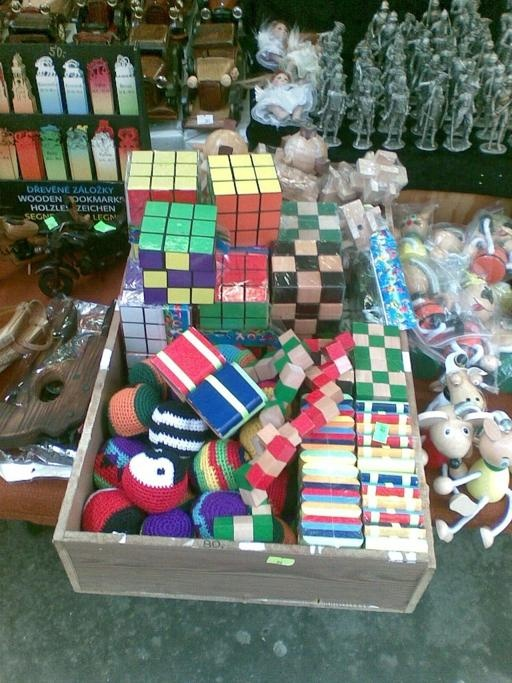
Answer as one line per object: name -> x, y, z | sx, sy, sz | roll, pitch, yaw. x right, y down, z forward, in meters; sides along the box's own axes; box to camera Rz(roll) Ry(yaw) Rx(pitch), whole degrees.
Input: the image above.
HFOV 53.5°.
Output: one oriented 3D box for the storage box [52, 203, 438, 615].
storage box -> -0.019, 0.295, 1.334 | 0.853, 0.571, 0.636 | 4, 37, -1
